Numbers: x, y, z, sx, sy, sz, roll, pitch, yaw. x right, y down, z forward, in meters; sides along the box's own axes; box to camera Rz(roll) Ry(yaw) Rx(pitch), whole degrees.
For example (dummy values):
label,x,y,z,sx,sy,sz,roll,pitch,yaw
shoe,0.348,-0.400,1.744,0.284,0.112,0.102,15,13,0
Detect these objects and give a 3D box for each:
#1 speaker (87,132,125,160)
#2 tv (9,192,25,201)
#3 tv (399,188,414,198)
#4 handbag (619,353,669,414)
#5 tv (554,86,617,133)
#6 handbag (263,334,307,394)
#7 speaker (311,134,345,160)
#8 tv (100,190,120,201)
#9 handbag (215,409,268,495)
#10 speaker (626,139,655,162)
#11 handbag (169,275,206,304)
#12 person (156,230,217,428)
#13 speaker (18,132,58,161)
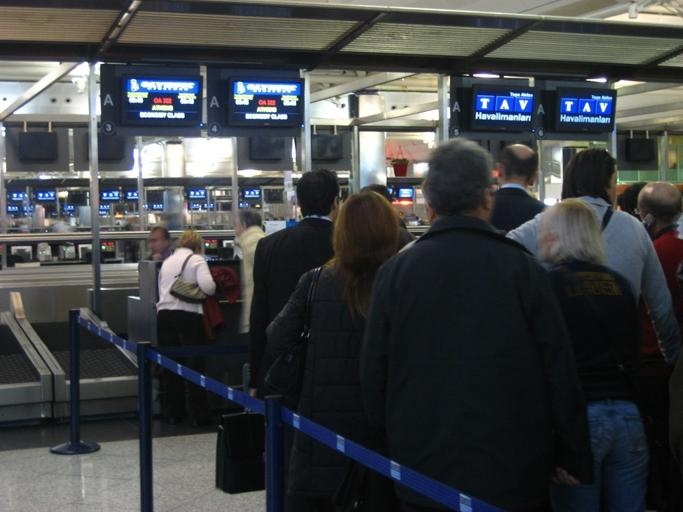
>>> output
label,x,y,z,sx,sy,sz,roll,pitch,yaw
speaker,-4.234,-2.008,12.736,0.508,0.538,0.388,-1,1,-18
tv,-10.102,-1.880,21.432,0.490,0.334,0.261,2,-2,-13
tv,1.867,-1.806,19.656,0.481,0.268,0.331,-1,-1,-3
handbag,1.259,0.527,2.882,0.208,0.264,0.079,5,-7,-21
tv,3.491,-2.105,9.887,1.018,0.619,0.268,-1,1,-18
handbag,-0.253,0.537,3.328,0.203,0.291,0.102,16,5,34
speaker,-0.256,-2.029,12.926,0.596,0.495,0.297,0,1,-6
tv,-7.573,-2.004,22.609,0.611,0.323,0.398,0,13,-6
handbag,-0.548,1.128,3.949,0.309,0.405,0.220,8,-9,-34
speaker,8.362,-2.995,19.329,0.623,0.514,0.316,-1,-2,-13
handbag,-1.488,0.312,6.689,0.204,0.204,0.099,25,-16,-8
person,-1.578,0.712,6.863,0.494,1.933,0.781,-1,1,-30
speaker,-5.330,-1.971,12.300,0.688,0.494,0.397,-1,2,-7
